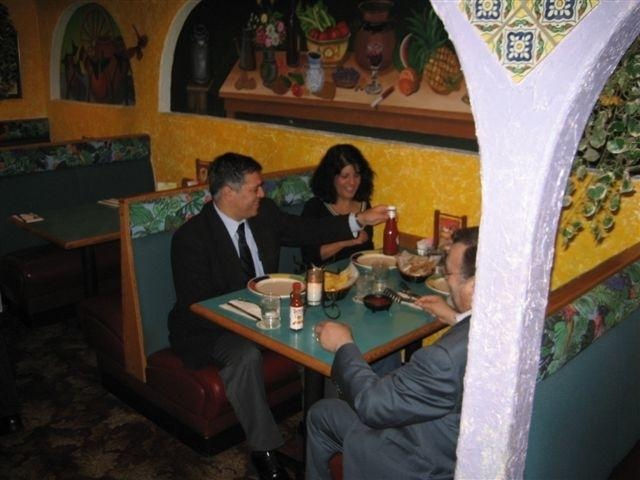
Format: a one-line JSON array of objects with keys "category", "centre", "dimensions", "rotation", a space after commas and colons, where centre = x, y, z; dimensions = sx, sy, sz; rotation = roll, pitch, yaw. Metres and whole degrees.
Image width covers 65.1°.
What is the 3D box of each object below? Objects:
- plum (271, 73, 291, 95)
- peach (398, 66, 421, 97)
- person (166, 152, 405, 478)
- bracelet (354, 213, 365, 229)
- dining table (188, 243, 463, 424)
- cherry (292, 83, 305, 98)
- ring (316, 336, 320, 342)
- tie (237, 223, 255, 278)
[{"category": "plum", "centre": [-0.344, -1.388, 4.476], "dimensions": [0.147, 0.176, 0.110], "rotation": [1, -15, -7]}, {"category": "peach", "centre": [0.655, -1.191, 3.762], "dimensions": [0.090, 0.191, 0.142], "rotation": [-7, 28, -40]}, {"category": "person", "centre": [-0.349, 0.218, 3.155], "dimensions": [1.219, 2.020, 1.123], "rotation": [-1, 19, -34]}, {"category": "bracelet", "centre": [0.257, -0.125, 3.280], "dimensions": [0.062, 0.088, 0.085], "rotation": [6, -1, 9]}, {"category": "dining table", "centre": [-0.077, 0.558, 2.738], "dimensions": [1.385, 0.887, 0.817], "rotation": [-13, 20, -43]}, {"category": "cherry", "centre": [-0.196, -1.314, 4.394], "dimensions": [0.102, 0.105, 0.047], "rotation": [1, 6, 34]}, {"category": "ring", "centre": [-0.010, 0.456, 2.310], "dimensions": [0.006, 0.024, 0.024], "rotation": [-9, 49, 14]}, {"category": "tie", "centre": [-0.449, 0.085, 3.076], "dimensions": [0.072, 0.371, 0.088], "rotation": [-10, -2, 5]}]
